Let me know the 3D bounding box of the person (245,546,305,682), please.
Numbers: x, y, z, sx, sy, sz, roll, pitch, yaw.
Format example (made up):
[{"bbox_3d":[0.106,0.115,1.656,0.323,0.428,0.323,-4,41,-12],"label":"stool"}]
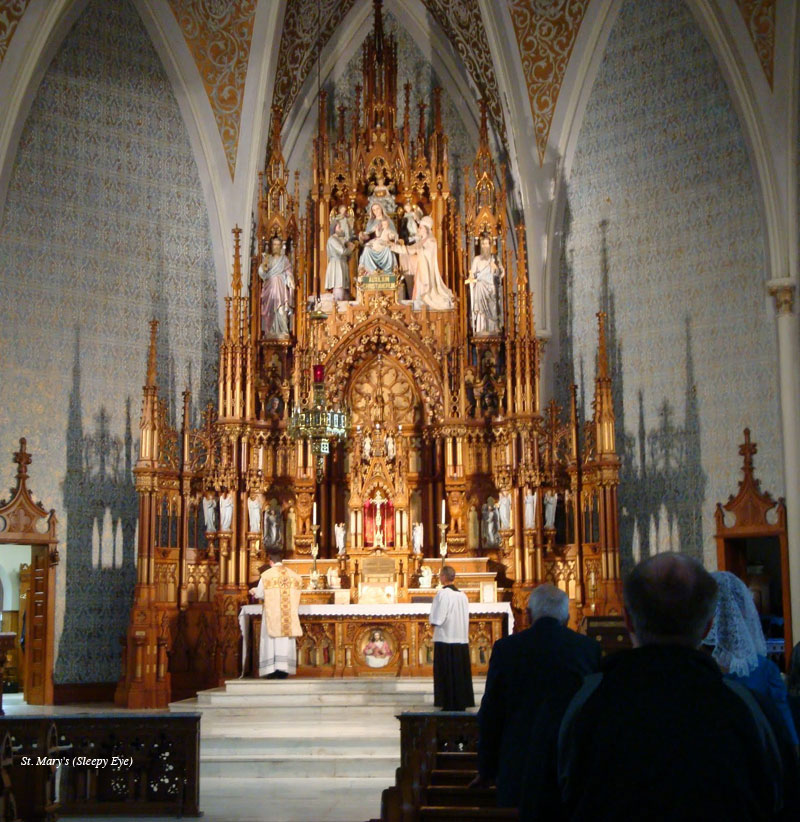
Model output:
[{"bbox_3d":[-1.381,2.367,15.217,0.518,1.261,0.387,0,-9,-7],"label":"person"}]

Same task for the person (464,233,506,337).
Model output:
[{"bbox_3d":[1.113,-1.612,17.732,0.474,1.304,0.246,-2,-9,2],"label":"person"}]

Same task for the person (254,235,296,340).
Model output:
[{"bbox_3d":[-1.647,-1.610,17.777,0.451,1.492,0.310,-1,-9,-3],"label":"person"}]

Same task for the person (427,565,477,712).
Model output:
[{"bbox_3d":[0.485,2.233,12.724,0.374,1.172,0.484,-1,-10,0],"label":"person"}]
